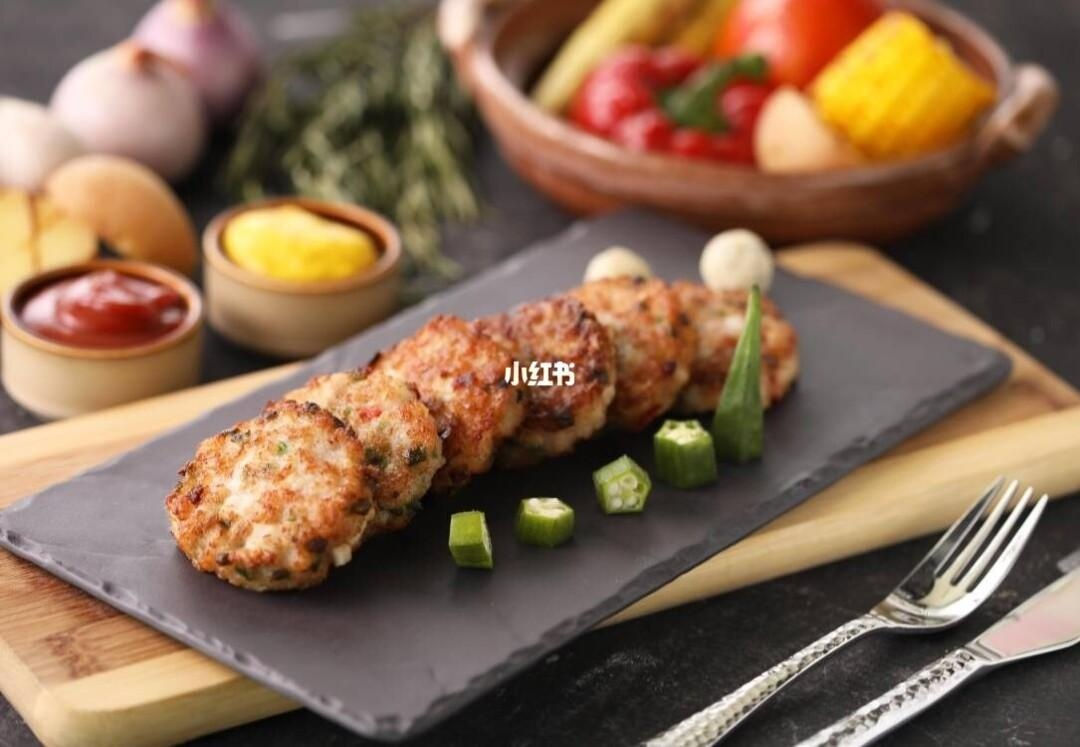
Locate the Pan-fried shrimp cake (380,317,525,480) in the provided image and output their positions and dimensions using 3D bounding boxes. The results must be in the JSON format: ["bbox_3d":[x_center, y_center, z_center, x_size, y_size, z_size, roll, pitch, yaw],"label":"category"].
[{"bbox_3d":[-0.213,0.041,2.984,0.414,0.115,0.408,-44,69,-10],"label":"Pan-fried shrimp cake"}]

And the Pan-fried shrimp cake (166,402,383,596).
[{"bbox_3d":[-0.689,0.310,2.755,0.501,0.195,0.420,-16,59,-15],"label":"Pan-fried shrimp cake"}]

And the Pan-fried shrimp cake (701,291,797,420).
[{"bbox_3d":[0.629,-0.120,3.332,0.303,0.110,0.369,2,49,2],"label":"Pan-fried shrimp cake"}]

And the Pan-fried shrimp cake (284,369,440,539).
[{"bbox_3d":[-0.418,0.142,2.765,0.370,0.126,0.438,-24,69,1],"label":"Pan-fried shrimp cake"}]
